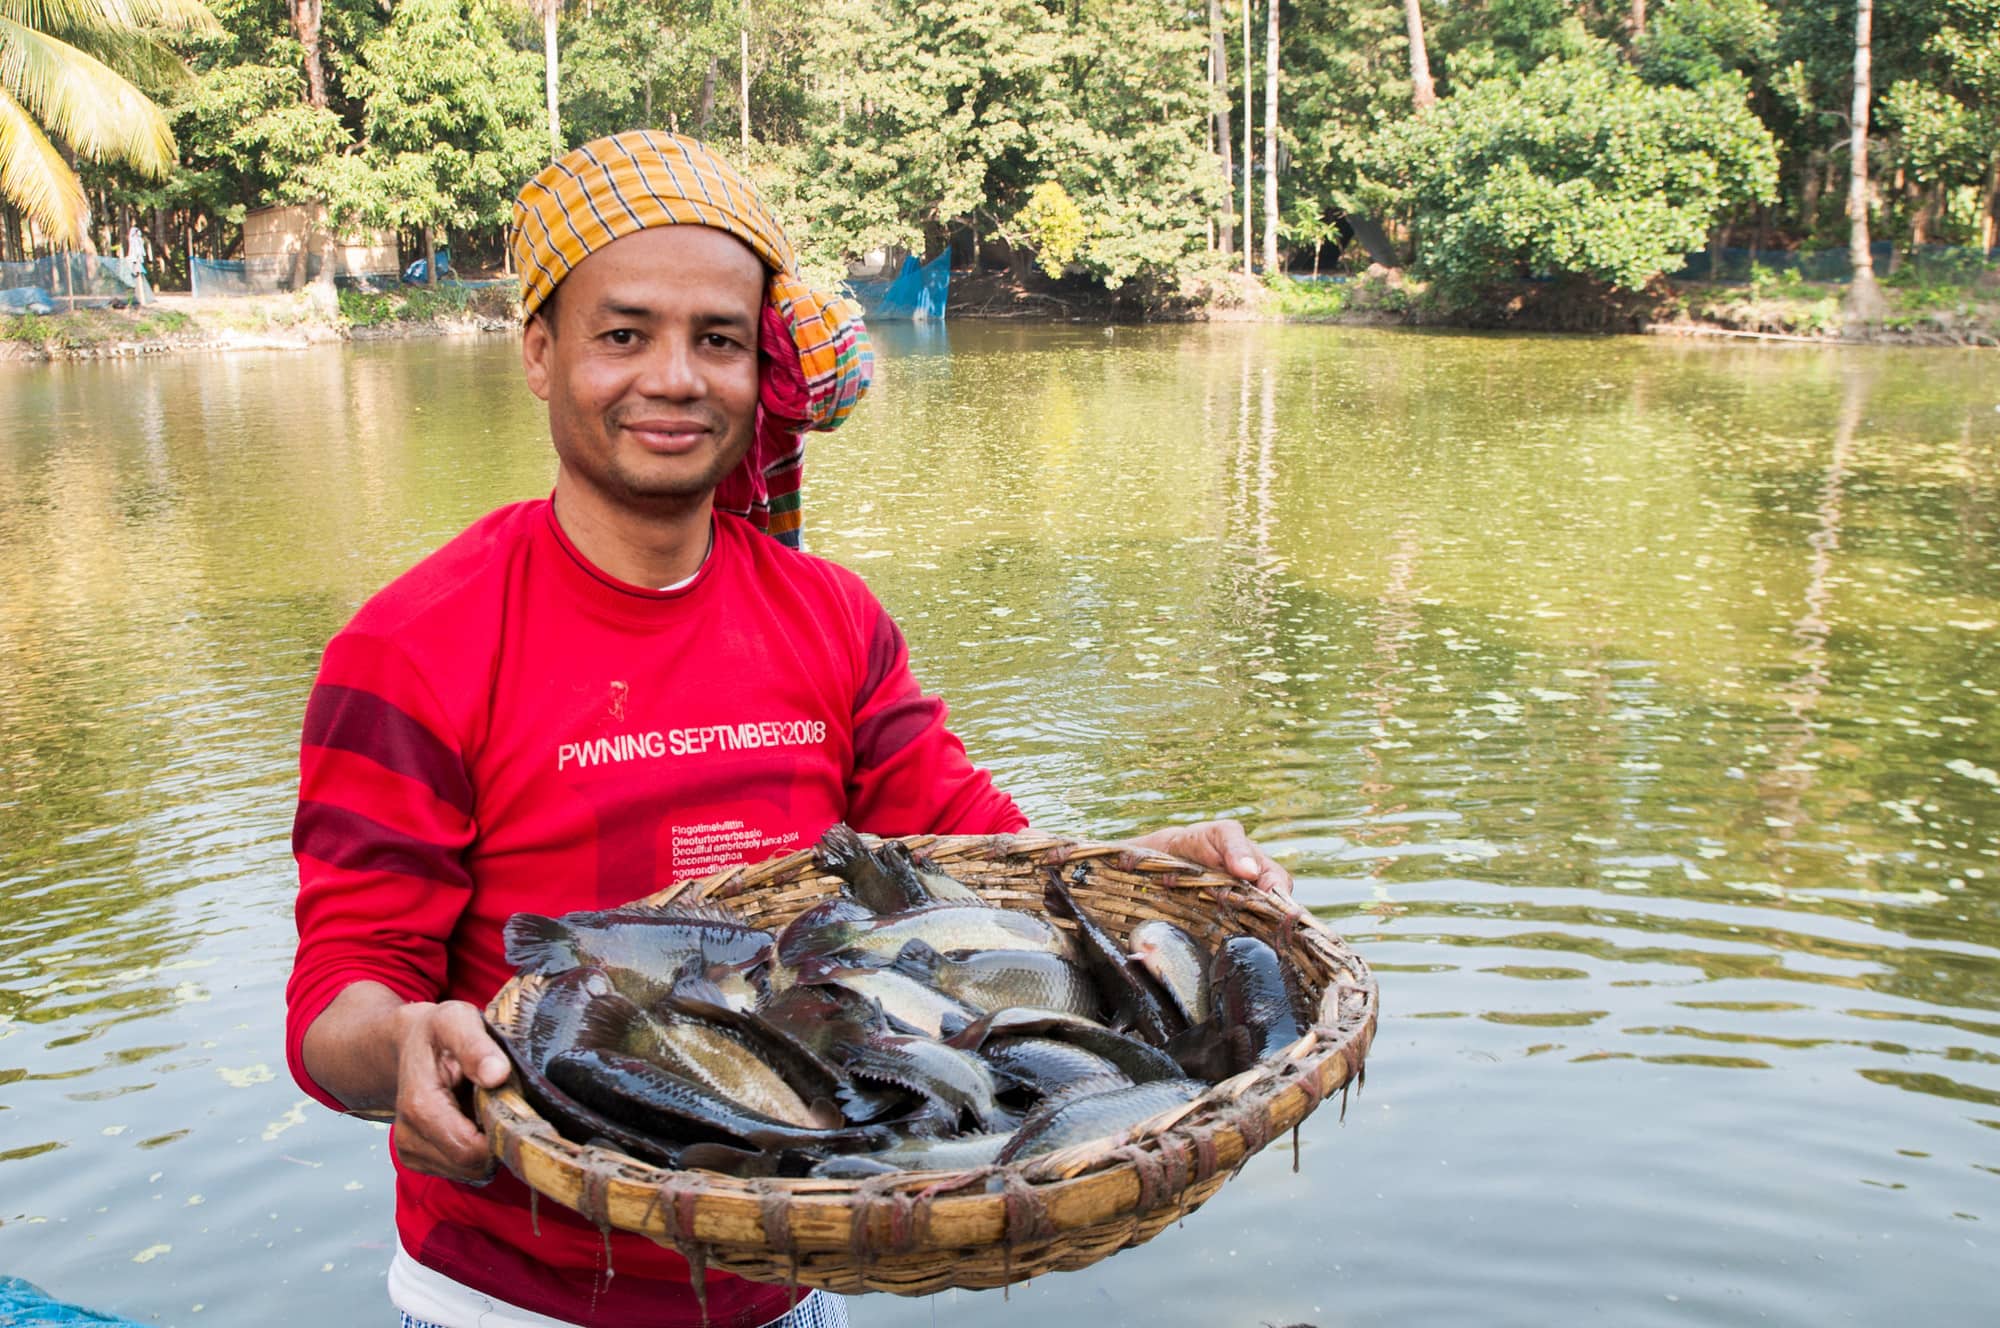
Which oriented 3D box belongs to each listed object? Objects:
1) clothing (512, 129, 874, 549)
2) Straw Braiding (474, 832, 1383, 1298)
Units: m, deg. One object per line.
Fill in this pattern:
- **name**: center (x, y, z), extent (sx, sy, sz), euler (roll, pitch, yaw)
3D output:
- **clothing**: center (-1.006, -0.996, 5.888), extent (1.142, 1.433, 0.800), euler (11, 15, 6)
- **Straw Braiding**: center (-0.135, 1.284, 5.338), extent (2.576, 1.171, 1.420), euler (-5, 13, -29)
